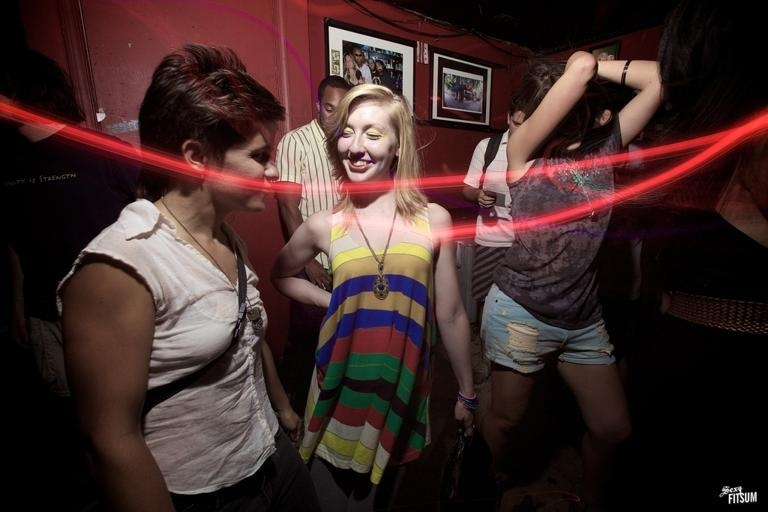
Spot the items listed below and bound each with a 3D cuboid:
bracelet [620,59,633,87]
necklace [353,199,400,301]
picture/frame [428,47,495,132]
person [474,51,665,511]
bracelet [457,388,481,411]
[{"bbox_3d":[1.581,-1.206,3.290,0.040,0.153,0.062,17,28,36],"label":"bracelet"},{"bbox_3d":[-0.053,-0.009,3.190,0.275,0.475,0.301,-1,22,-1],"label":"necklace"},{"bbox_3d":[0.919,-2.104,6.212,1.139,0.816,0.039,-9,13,-42],"label":"picture/frame"},{"bbox_3d":[1.225,0.220,3.539,1.021,3.089,0.946,4,23,11],"label":"person"},{"bbox_3d":[0.556,0.959,3.355,0.141,0.117,0.107,15,9,25],"label":"bracelet"}]
